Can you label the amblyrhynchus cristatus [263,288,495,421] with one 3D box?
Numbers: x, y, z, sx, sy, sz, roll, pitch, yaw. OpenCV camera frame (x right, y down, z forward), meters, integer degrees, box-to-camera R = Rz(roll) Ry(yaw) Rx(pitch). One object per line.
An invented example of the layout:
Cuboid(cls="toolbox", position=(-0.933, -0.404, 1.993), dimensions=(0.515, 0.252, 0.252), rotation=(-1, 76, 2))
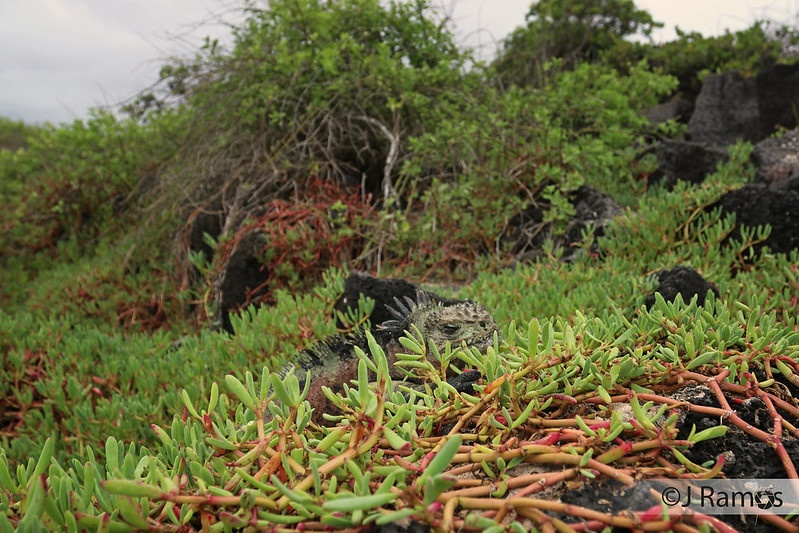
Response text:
Cuboid(cls="amblyrhynchus cristatus", position=(-0.229, 0.761, 4.202), dimensions=(1.983, 0.997, 0.600), rotation=(-14, -13, 26))
